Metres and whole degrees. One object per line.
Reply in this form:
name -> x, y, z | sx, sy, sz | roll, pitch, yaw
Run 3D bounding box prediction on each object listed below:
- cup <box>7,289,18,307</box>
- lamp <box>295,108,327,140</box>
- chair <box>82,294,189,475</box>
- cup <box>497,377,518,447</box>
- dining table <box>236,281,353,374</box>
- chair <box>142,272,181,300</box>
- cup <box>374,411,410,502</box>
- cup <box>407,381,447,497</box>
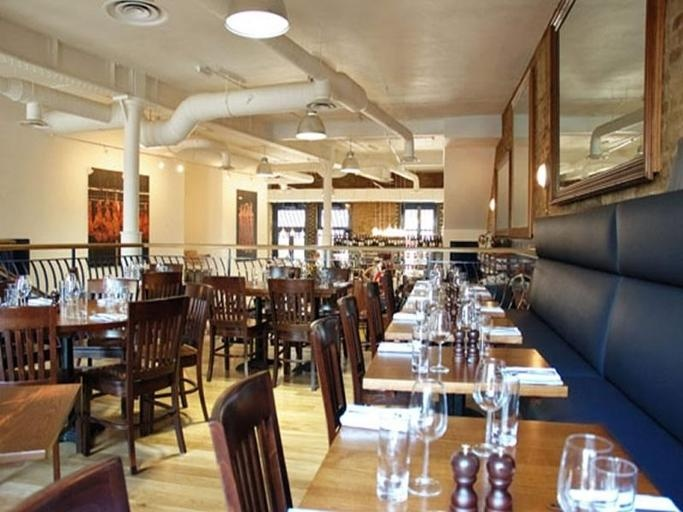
cup -> -2.465, 0.304, 4.026 | 0.087, 0.130, 0.117 | -1, 1, -32
lamp -> -0.421, -1.829, 7.817 | 0.525, 0.530, 0.534 | -1, -2, -4
chair -> -1.488, 0.861, 3.889 | 0.674, 1.142, 0.612 | 0, 1, 39
cup -> 0.582, 0.546, 1.879 | 0.055, 0.268, 0.088 | -1, 1, 8
dining table -> -0.481, 0.719, 6.303 | 1.015, 0.990, 1.035 | 0, 2, 5
chair -> -1.869, 0.303, 5.528 | 0.219, 0.386, 0.224 | -2, 12, -34
cup -> 0.162, 0.650, 1.703 | 0.104, 0.277, 0.094 | -1, 1, 5
cup -> 0.289, 0.594, 1.829 | 0.122, 0.368, 0.279 | -1, 1, 7
